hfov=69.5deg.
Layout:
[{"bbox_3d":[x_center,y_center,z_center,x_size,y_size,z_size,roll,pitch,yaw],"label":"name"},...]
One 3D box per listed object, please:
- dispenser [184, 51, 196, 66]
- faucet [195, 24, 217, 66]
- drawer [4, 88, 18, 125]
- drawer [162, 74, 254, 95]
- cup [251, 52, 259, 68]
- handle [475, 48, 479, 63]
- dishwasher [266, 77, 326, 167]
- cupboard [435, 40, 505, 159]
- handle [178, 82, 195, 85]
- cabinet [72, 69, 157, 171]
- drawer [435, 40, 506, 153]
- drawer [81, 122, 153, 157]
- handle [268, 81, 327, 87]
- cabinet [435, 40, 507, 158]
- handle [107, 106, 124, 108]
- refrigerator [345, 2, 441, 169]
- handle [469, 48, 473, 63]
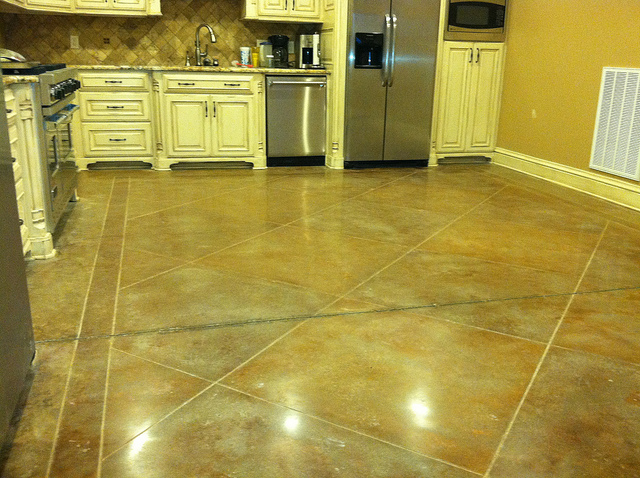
[{"bbox_3d":[-1.526,-2.100,5.342,0.115,0.166,0.191,-1,18,0],"label":"dispenser"},{"bbox_3d":[-1.304,-2.235,5.273,0.265,0.456,0.345,-4,19,-10],"label":"faucet"},{"bbox_3d":[-1.599,-0.693,2.394,0.039,0.179,0.166,-10,20,-24],"label":"drawer"},{"bbox_3d":[-1.185,-1.664,4.947,0.932,0.198,0.075,-4,19,-12],"label":"drawer"},{"bbox_3d":[-0.750,-2.109,5.413,0.089,0.171,0.154,-4,18,-9],"label":"cup"},{"bbox_3d":[1.842,-2.154,5.379,0.024,0.145,0.018,-11,22,-28],"label":"handle"},{"bbox_3d":[-0.381,-1.421,5.492,0.815,0.909,0.682,-2,19,-10],"label":"dishwasher"},{"bbox_3d":[1.690,-1.669,5.715,0.898,1.397,0.525,-7,19,-22],"label":"cupboard"},{"bbox_3d":[-1.417,-1.653,4.901,0.161,0.013,0.009,-4,19,-12],"label":"handle"},{"bbox_3d":[-2.188,-1.312,5.284,0.995,1.045,0.798,0,7,6],"label":"cabinet"},{"bbox_3d":[1.779,-1.683,5.483,0.832,1.267,0.128,-5,20,-14],"label":"drawer"},{"bbox_3d":[-2.184,-1.080,5.000,0.704,0.374,0.408,-3,15,-14],"label":"drawer"},{"bbox_3d":[-0.247,-1.717,5.099,0.617,0.059,0.020,-4,19,-13],"label":"handle"},{"bbox_3d":[1.702,-1.676,5.731,0.818,1.331,0.559,-4,20,-14],"label":"cabinet"},{"bbox_3d":[-2.167,-1.409,4.911,0.163,0.014,0.005,-4,19,-13],"label":"handle"},{"bbox_3d":[0.805,-1.744,5.167,1.054,1.708,0.371,-1,19,-1],"label":"refrigerator"},{"bbox_3d":[1.759,-2.141,5.365,0.041,0.158,0.022,-9,21,-23],"label":"handle"}]
